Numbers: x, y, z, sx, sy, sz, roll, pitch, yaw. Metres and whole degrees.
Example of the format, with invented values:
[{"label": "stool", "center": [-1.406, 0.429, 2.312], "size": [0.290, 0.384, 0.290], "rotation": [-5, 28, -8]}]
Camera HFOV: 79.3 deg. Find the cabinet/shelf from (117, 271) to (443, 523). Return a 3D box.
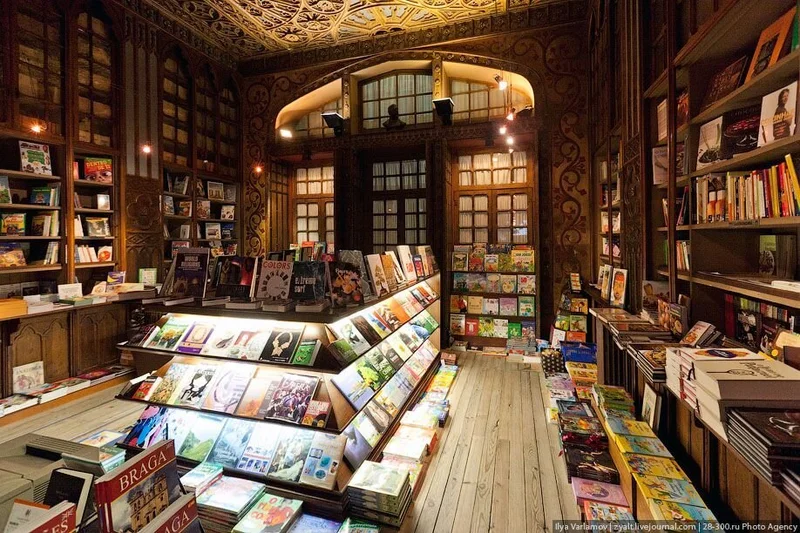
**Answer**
[{"label": "cabinet/shelf", "center": [-1.404, 1.172, 4.981], "size": [2.170, 0.915, 2.282], "rotation": [1, 4, 28]}]
